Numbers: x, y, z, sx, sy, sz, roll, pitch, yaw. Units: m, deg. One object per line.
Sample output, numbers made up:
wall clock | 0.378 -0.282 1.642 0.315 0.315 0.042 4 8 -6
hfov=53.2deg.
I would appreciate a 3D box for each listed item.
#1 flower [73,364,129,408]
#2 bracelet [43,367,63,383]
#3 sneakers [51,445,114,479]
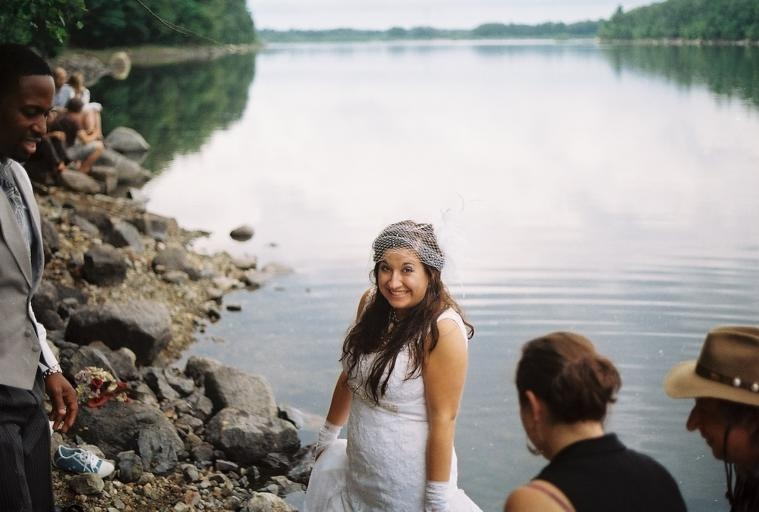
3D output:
flower | -3.068 1.362 8.337 0.556 0.231 0.501 -2 9 -30
bracelet | -2.447 0.896 5.683 0.104 0.052 0.111 -2 -28 -19
sneakers | -2.825 1.960 7.191 0.677 0.229 0.246 12 34 -10
